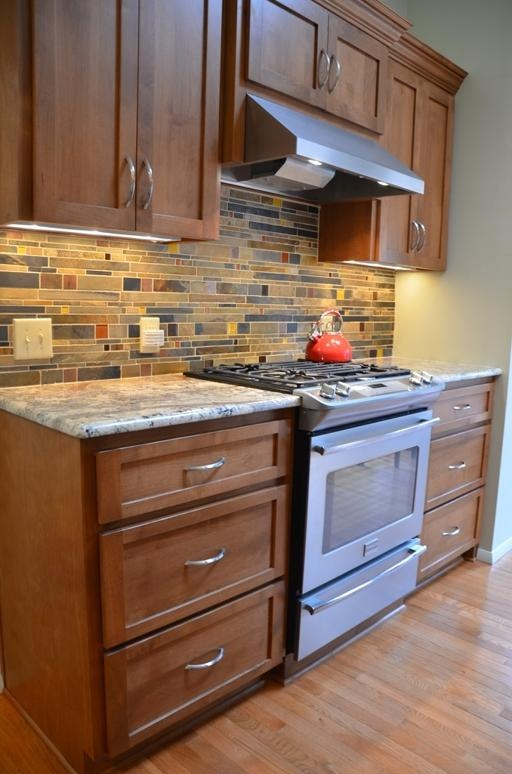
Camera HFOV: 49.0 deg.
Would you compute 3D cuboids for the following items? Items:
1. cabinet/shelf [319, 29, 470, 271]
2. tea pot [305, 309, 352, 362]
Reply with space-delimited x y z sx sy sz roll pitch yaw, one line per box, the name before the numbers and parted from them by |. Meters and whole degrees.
cabinet/shelf | 0.526 -0.928 2.163 0.284 1.103 0.813 10 17 33
tea pot | 0.299 -0.205 2.279 0.166 0.205 0.406 3 5 11
